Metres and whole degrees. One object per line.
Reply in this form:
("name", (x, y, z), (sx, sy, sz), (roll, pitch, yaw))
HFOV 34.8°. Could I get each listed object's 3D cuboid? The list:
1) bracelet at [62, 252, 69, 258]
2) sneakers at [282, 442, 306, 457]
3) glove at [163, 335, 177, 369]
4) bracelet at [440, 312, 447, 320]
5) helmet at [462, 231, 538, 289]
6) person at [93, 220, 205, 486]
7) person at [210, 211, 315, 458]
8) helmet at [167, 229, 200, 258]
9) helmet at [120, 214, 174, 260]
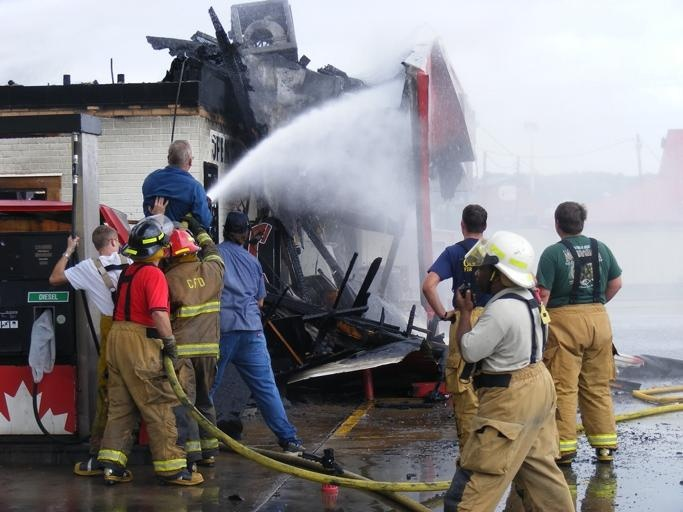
("bracelet", (-2.684, -0.017, 10.575), (0.042, 0.016, 0.059), (22, -23, -38))
("sneakers", (-0.477, 1.858, 10.597), (0.279, 0.111, 0.090), (2, -4, 2))
("glove", (-1.582, 0.856, 9.980), (0.129, 0.277, 0.182), (-1, -1, -8))
("bracelet", (0.948, 0.561, 10.252), (0.029, 0.065, 0.059), (-6, -8, 41))
("helmet", (1.429, -0.020, 9.110), (0.478, 0.350, 0.630), (-17, 35, -40))
("person", (-1.810, 0.870, 10.047), (0.871, 2.487, 0.412), (-1, -1, -8))
("person", (-0.867, 0.726, 10.714), (0.785, 2.349, 0.479), (-1, -1, -7))
("helmet", (-1.492, -0.121, 10.260), (0.277, 0.206, 0.243), (6, -3, 1))
("helmet", (-1.803, -0.210, 10.115), (0.410, 0.279, 0.585), (9, 23, 35))
